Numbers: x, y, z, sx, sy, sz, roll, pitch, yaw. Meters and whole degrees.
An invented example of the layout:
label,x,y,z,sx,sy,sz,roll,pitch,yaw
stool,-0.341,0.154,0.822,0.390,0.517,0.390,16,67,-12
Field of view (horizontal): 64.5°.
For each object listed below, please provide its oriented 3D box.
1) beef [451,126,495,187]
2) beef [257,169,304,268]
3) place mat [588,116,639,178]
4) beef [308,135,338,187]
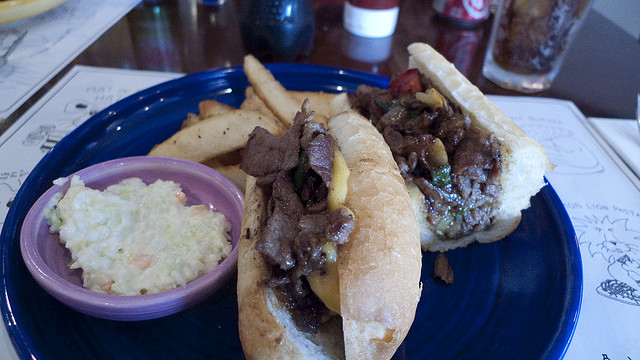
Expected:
label,x,y,z,sx,sy,sz,roll,pitch,yaw
beef,1.229,-0.206,4.253,0.355,0.289,0.348,-16,60,-14
beef,-0.295,0.315,3.907,0.326,0.338,0.713,10,57,2
place mat,2.962,-0.332,5.205,0.307,0.501,0.595,-4,87,31
beef,0.005,-0.155,3.910,0.247,0.093,0.344,33,61,-30
